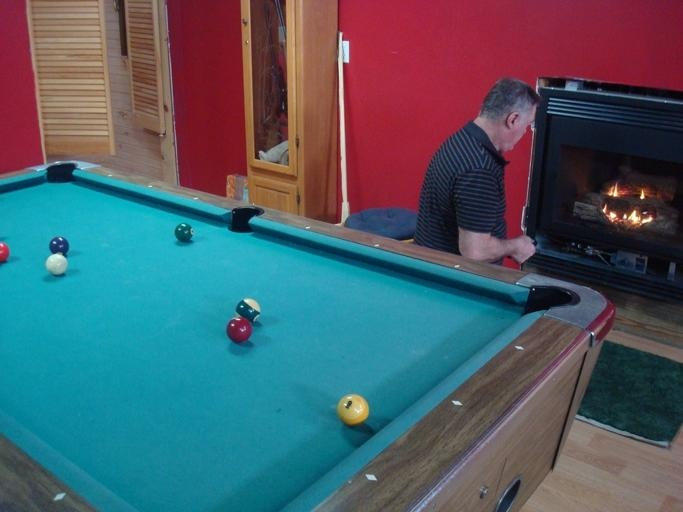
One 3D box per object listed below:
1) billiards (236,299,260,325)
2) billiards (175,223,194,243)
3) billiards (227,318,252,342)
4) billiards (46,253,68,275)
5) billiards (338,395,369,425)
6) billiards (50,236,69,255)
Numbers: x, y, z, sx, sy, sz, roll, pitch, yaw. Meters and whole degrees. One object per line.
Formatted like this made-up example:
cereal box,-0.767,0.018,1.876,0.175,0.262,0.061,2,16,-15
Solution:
billiards,-0.287,0.165,1.821,0.066,0.075,0.083,-16,60,12
billiards,-0.637,-0.095,2.306,0.070,0.085,0.071,-10,14,-12
billiards,-0.300,0.219,1.681,0.067,0.071,0.068,2,32,8
billiards,-1.032,0.025,2.067,0.072,0.089,0.073,0,9,-30
billiards,0.034,0.382,1.419,0.087,0.075,0.056,4,23,-8
billiards,-1.083,-0.040,2.183,0.068,0.070,0.068,12,19,-23
